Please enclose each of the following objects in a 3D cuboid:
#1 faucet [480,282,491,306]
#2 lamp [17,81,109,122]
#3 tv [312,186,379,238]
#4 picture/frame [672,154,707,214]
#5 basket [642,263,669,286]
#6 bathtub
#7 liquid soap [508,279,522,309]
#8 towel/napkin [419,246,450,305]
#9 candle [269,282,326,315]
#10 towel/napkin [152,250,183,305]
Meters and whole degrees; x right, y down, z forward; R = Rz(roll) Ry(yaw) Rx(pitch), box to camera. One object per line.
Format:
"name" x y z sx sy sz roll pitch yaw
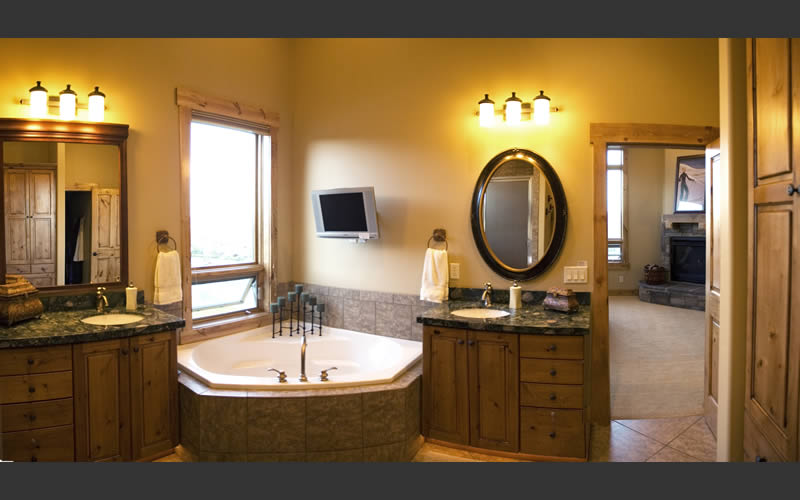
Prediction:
"faucet" 0.655 0.343 4.400 0.084 0.172 0.154 1 5 8
"lamp" -2.286 -1.016 3.989 0.538 0.198 0.182 -2 5 -28
"tv" -0.426 -0.318 4.778 0.499 0.310 0.063 1 12 32
"picture/frame" 4.109 -0.936 8.172 0.171 0.815 0.454 -2 6 -23
"basket" 3.632 0.365 8.178 0.330 0.207 0.294 -1 -1 3
"bathtub" -0.776 0.884 4.416 1.823 0.323 1.235 0 5 0
"liquid soap" 0.867 0.336 4.327 0.099 0.196 0.173 2 6 11
"towel/napkin" 0.270 0.209 4.496 0.205 0.422 0.159 0 6 -1
"candle" -0.907 0.494 5.085 0.534 0.294 0.256 2 5 7
"towel/napkin" -1.736 0.210 4.354 0.241 0.398 0.134 -5 8 -44
